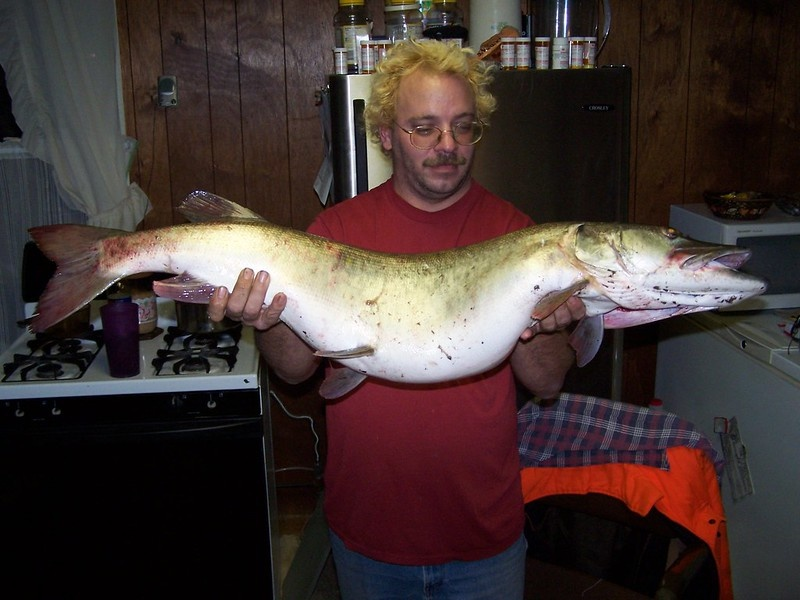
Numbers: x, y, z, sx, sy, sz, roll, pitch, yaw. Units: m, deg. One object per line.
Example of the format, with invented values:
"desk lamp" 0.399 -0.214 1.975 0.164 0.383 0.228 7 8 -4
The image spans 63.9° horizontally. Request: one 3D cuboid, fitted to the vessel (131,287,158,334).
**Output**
"vessel" -1.070 0.035 2.700 0.080 0.140 0.080 -7 0 -1
